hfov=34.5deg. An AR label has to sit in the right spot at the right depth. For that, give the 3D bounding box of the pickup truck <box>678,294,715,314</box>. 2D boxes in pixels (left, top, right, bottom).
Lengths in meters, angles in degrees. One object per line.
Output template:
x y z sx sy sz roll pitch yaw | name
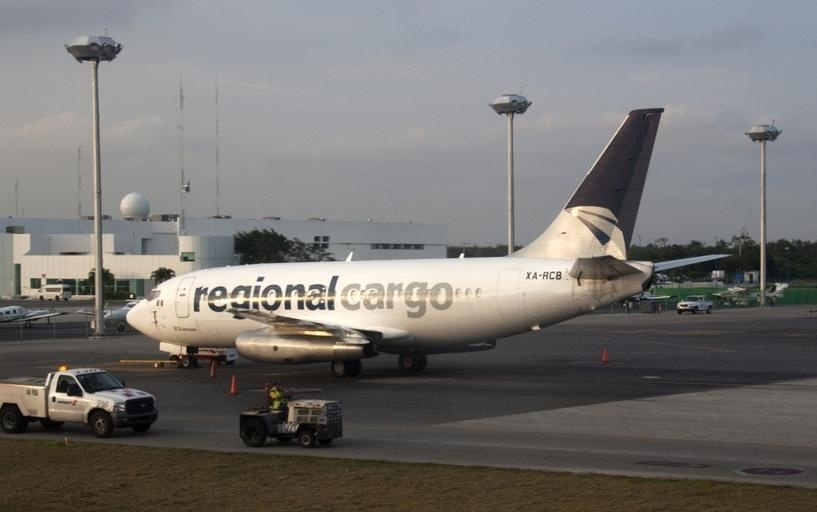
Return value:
25.665 4.293 116.750 1.600 0.969 3.187 -4 -6 40 | pickup truck

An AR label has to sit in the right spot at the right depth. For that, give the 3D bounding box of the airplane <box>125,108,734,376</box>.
-1.480 -0.491 72.391 30.311 13.545 4.829 -1 -4 26 | airplane

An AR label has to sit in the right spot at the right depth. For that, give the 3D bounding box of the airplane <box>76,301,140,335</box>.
-22.743 4.670 99.216 3.751 1.054 3.203 -2 1 35 | airplane

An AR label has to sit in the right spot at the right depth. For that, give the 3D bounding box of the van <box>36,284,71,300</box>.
-39.261 3.957 146.110 3.470 1.236 1.803 2 3 24 | van

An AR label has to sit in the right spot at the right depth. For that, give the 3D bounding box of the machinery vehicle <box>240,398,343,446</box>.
-5.047 7.484 59.044 4.194 2.023 4.171 -3 -2 -35 | machinery vehicle
